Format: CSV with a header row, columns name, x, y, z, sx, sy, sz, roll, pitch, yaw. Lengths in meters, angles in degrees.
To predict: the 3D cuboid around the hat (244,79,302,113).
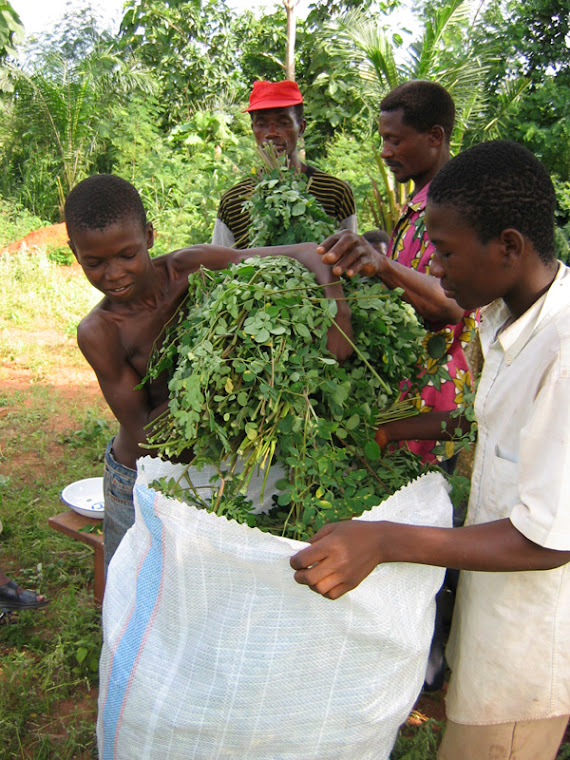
name,x,y,z,sx,sy,sz,roll,pitch,yaw
hat,-0.045,-1.320,3.280,0.258,0.157,0.231,-1,10,-3
